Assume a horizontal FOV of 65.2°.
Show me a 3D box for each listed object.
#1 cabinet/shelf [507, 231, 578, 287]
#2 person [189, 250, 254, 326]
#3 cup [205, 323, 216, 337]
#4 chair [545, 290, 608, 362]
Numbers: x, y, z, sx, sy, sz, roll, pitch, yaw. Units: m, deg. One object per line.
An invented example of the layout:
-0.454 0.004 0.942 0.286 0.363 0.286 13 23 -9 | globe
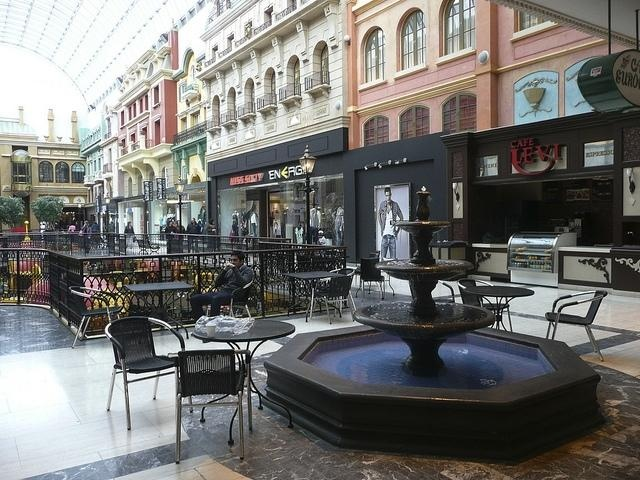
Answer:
6.372 0.544 14.585 1.109 1.520 1.525 0 2 -33 | cabinet/shelf
-1.953 1.045 10.143 1.084 1.802 0.821 15 -15 -37 | person
-1.377 1.146 6.352 0.118 0.124 0.141 -1 -4 26 | cup
4.187 1.363 8.257 0.913 1.068 0.973 1 1 3 | chair
